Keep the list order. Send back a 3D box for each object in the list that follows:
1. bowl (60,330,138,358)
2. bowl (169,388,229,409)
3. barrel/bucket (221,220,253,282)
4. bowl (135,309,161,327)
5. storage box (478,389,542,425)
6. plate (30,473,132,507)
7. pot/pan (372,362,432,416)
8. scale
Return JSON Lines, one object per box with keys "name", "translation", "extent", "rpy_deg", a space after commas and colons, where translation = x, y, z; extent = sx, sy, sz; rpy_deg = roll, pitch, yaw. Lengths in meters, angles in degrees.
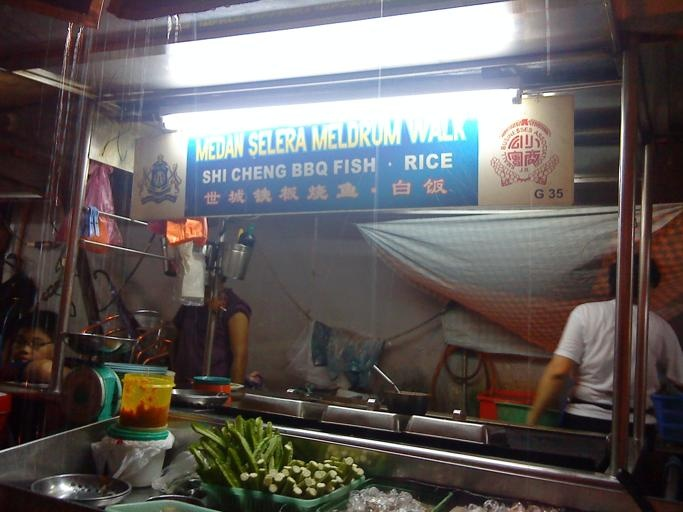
{"name": "bowl", "translation": [-1.141, 0.411, 2.510], "extent": [0.191, 0.062, 0.185], "rpy_deg": [12, -15, 3]}
{"name": "bowl", "translation": [-0.670, 0.659, 2.517], "extent": [0.248, 0.060, 0.172], "rpy_deg": [0, -2, 11]}
{"name": "barrel/bucket", "translation": [-0.646, -0.027, 3.379], "extent": [0.188, 0.343, 0.113], "rpy_deg": [1, -2, -9]}
{"name": "bowl", "translation": [-1.306, 0.413, 3.610], "extent": [0.209, 0.125, 0.020], "rpy_deg": [0, -3, 22]}
{"name": "storage box", "translation": [0.895, 0.820, 2.974], "extent": [0.230, 0.107, 0.162], "rpy_deg": [0, -3, 21]}
{"name": "plate", "translation": [-0.905, 0.807, 1.858], "extent": [0.293, 0.076, 0.219], "rpy_deg": [0, -2, 15]}
{"name": "pot/pan", "translation": [0.318, 0.730, 2.987], "extent": [0.237, 0.208, 0.385], "rpy_deg": [1, -2, -8]}
{"name": "scale", "translation": [-1.230, 0.607, 2.679], "extent": [0.319, 0.437, 0.313], "rpy_deg": [2, -7, 29]}
